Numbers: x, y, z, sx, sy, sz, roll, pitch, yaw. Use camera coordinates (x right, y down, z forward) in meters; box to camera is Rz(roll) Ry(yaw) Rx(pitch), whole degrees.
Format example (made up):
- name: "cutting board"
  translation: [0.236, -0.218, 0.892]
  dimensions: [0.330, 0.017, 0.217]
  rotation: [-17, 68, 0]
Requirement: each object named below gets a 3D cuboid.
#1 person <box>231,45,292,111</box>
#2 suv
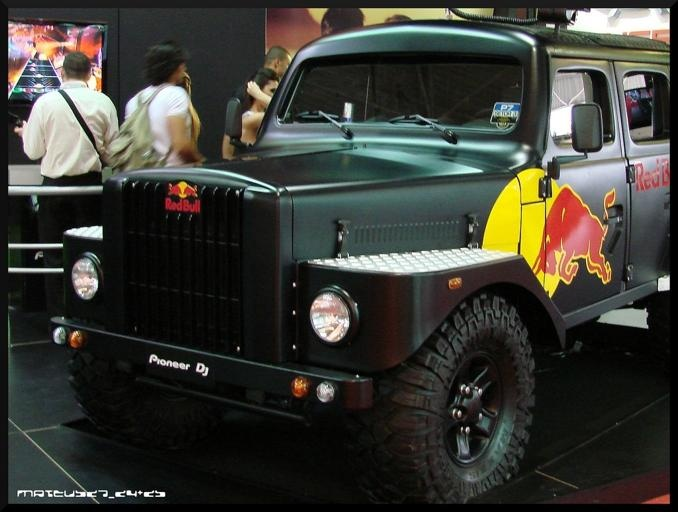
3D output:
- name: "person"
  translation: [-0.713, -1.872, 5.852]
  dimensions: [0.336, 0.589, 0.759]
  rotation: [14, 30, -15]
- name: "suv"
  translation: [0.454, -0.101, 3.617]
  dimensions: [2.113, 2.252, 3.711]
  rotation: [2, 4, 43]
